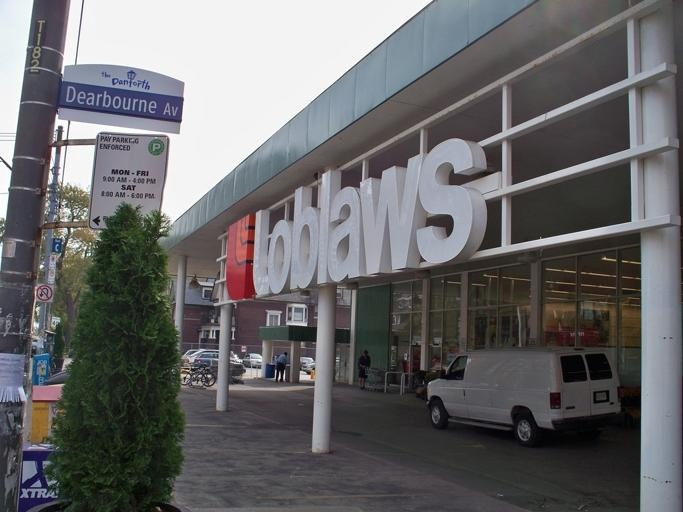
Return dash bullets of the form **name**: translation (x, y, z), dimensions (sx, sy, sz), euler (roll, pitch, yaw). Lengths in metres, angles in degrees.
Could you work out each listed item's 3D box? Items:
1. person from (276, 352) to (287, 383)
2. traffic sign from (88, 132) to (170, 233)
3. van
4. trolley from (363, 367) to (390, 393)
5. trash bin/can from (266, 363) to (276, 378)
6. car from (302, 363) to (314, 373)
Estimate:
- **person**: translation (-3.649, 6.826, 34.081), dimensions (0.630, 1.693, 1.097), euler (3, -8, -6)
- **traffic sign**: translation (-2.137, -0.741, 5.625), dimensions (0.725, 0.052, 1.114), euler (-5, -52, -36)
- **van**: translation (4.420, 3.308, 14.664), dimensions (2.176, 2.047, 4.209), euler (7, -10, -27)
- **trolley**: translation (1.828, 6.308, 28.269), dimensions (0.775, 1.054, 2.110), euler (7, -10, -28)
- **trash bin/can**: translation (-4.569, 7.495, 36.259), dimensions (0.650, 0.917, 0.734), euler (1, -6, 7)
- **car**: translation (-3.124, 10.621, 52.556), dimensions (0.714, 0.833, 3.259), euler (4, -9, -12)
